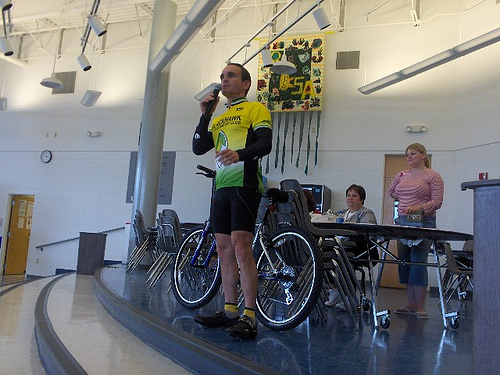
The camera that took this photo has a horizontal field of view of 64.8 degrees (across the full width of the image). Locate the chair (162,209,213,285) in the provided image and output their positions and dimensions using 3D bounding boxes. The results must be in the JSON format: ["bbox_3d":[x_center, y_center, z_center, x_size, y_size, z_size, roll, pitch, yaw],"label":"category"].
[{"bbox_3d":[-0.648,0.478,3.787,0.473,0.442,0.595,2,-38,-28],"label":"chair"}]

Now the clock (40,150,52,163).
[{"bbox_3d":[-5.703,-0.865,11.049,0.402,0.343,0.079,-3,-3,24],"label":"clock"}]

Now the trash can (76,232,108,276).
[{"bbox_3d":[-2.990,1.237,7.426,0.497,0.756,0.465,-1,-2,-10],"label":"trash can"}]

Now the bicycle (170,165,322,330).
[{"bbox_3d":[-0.035,0.493,3.222,1.630,1.114,0.540,-4,-17,44],"label":"bicycle"}]

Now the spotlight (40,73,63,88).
[{"bbox_3d":[-4.264,-2.425,8.568,0.477,0.310,0.451,2,-2,-34],"label":"spotlight"}]

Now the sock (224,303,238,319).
[{"bbox_3d":[-0.120,0.823,2.614,0.088,0.100,0.092,4,-17,2],"label":"sock"}]

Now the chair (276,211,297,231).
[{"bbox_3d":[0.306,0.275,3.245,0.143,0.192,0.136,-3,-5,43],"label":"chair"}]

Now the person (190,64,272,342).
[{"bbox_3d":[-0.145,0.077,2.817,0.560,1.911,0.885,-1,-2,-10],"label":"person"}]

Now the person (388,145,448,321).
[{"bbox_3d":[1.630,0.381,3.946,0.462,1.674,0.538,6,-6,-26],"label":"person"}]

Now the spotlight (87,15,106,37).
[{"bbox_3d":[-2.679,-2.866,6.934,0.365,0.447,0.208,-3,-3,22],"label":"spotlight"}]

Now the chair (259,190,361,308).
[{"bbox_3d":[0.404,0.523,3.319,0.899,1.298,0.774,1,-11,-5],"label":"chair"}]

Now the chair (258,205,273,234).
[{"bbox_3d":[0.144,0.295,3.658,0.175,0.257,0.253,1,-19,-8],"label":"chair"}]

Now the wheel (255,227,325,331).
[{"bbox_3d":[0.241,0.670,2.892,0.430,0.762,0.866,-1,-3,-6],"label":"wheel"}]

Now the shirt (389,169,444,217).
[{"bbox_3d":[1.673,0.047,4.015,0.296,0.534,0.525,11,-9,-40],"label":"shirt"}]

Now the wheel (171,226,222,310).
[{"bbox_3d":[-0.501,0.706,3.501,0.371,0.703,1.437,-1,-3,-15],"label":"wheel"}]

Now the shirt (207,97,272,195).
[{"bbox_3d":[-0.058,-0.297,2.714,0.393,0.707,0.449,-1,-2,-8],"label":"shirt"}]

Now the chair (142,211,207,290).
[{"bbox_3d":[-1.118,0.681,4.722,0.680,0.871,0.606,-4,9,-23],"label":"chair"}]

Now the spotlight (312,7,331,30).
[{"bbox_3d":[1.189,-2.846,6.556,0.253,0.395,0.262,-2,-3,17],"label":"spotlight"}]

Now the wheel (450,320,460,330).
[{"bbox_3d":[1.703,1.150,3.286,0.086,0.107,0.036,-1,-3,36],"label":"wheel"}]

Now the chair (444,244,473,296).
[{"bbox_3d":[1.945,0.754,3.604,0.330,0.447,0.314,0,-3,30],"label":"chair"}]

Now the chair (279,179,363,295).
[{"bbox_3d":[0.594,0.374,2.999,0.516,0.695,0.541,8,0,-45],"label":"chair"}]

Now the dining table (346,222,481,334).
[{"bbox_3d":[1.657,0.917,3.960,1.013,0.898,1.678,-2,-6,6],"label":"dining table"}]
